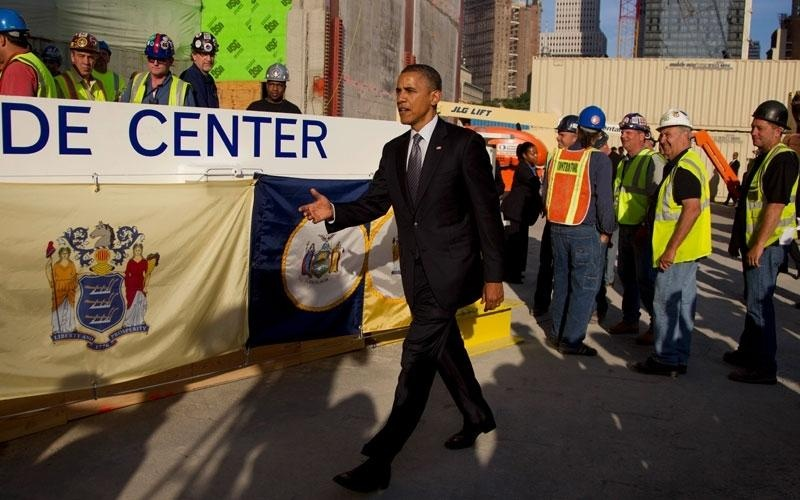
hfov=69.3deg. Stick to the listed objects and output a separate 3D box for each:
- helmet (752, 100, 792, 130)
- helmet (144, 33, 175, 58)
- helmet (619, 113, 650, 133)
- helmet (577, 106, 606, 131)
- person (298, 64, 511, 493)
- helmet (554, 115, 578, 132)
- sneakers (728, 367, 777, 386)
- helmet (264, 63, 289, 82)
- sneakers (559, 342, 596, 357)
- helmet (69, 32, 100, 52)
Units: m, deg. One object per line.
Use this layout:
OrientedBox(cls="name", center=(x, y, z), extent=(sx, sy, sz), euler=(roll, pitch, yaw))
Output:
OrientedBox(cls="helmet", center=(4.076, -1.460, 6.298), extent=(0.369, 0.198, 0.292), euler=(-8, 28, -29))
OrientedBox(cls="helmet", center=(-2.832, -2.398, 6.791), extent=(0.268, 0.303, 0.486), euler=(-4, 16, -17))
OrientedBox(cls="helmet", center=(3.155, -1.723, 7.777), extent=(0.345, 0.276, 0.473), euler=(19, 23, 40))
OrientedBox(cls="helmet", center=(2.403, -1.631, 7.255), extent=(0.289, 0.346, 0.388), euler=(8, 16, 9))
OrientedBox(cls="person", center=(0.172, 0.187, 4.724), extent=(1.177, 3.238, 0.796), euler=(-7, 16, -27))
OrientedBox(cls="helmet", center=(2.247, -1.686, 7.736), extent=(0.317, 0.182, 0.242), euler=(6, 10, -23))
OrientedBox(cls="sneakers", center=(3.795, 1.344, 6.271), extent=(0.434, 0.190, 0.195), euler=(5, 3, 27))
OrientedBox(cls="helmet", center=(-1.810, -2.567, 8.461), extent=(0.324, 0.247, 0.434), euler=(10, 21, -9))
OrientedBox(cls="sneakers", center=(2.110, 1.185, 7.012), extent=(0.455, 0.212, 0.175), euler=(-1, 4, -3))
OrientedBox(cls="helmet", center=(-3.753, -2.469, 6.847), extent=(0.261, 0.228, 0.479), euler=(-6, 17, -25))
